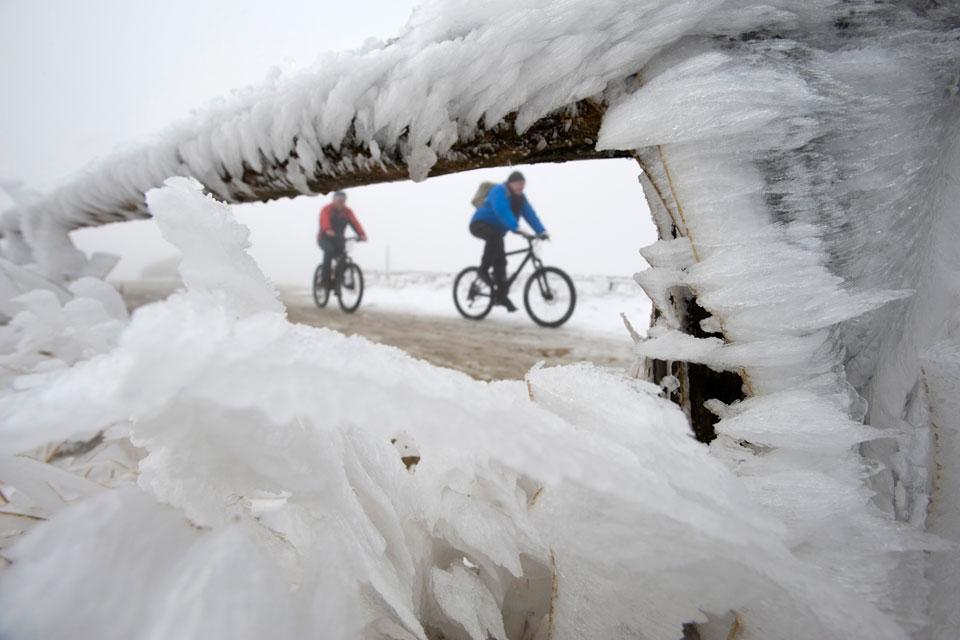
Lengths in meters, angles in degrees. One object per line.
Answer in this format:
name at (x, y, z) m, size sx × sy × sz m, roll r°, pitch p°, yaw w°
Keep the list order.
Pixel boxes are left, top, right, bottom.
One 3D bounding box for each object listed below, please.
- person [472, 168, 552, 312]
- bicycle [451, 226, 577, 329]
person at (0.276, -0.589, 6.725) m, size 0.521 × 1.331 × 1.166 m, roll -11°, pitch 14°, yaw -6°
bicycle at (0.401, -0.355, 7.356) m, size 1.207 × 0.862 × 0.611 m, roll 1°, pitch 9°, yaw 39°
